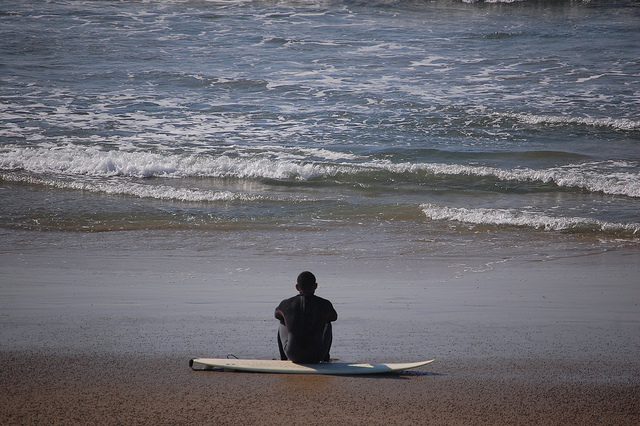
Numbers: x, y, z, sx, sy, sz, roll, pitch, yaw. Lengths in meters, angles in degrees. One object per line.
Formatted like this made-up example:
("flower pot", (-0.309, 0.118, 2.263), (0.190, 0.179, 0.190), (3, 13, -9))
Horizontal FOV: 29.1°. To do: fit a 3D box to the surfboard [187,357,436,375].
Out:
("surfboard", (-0.418, 3.971, 31.860), (5.435, 0.358, 0.297), (1, 5, 2))
